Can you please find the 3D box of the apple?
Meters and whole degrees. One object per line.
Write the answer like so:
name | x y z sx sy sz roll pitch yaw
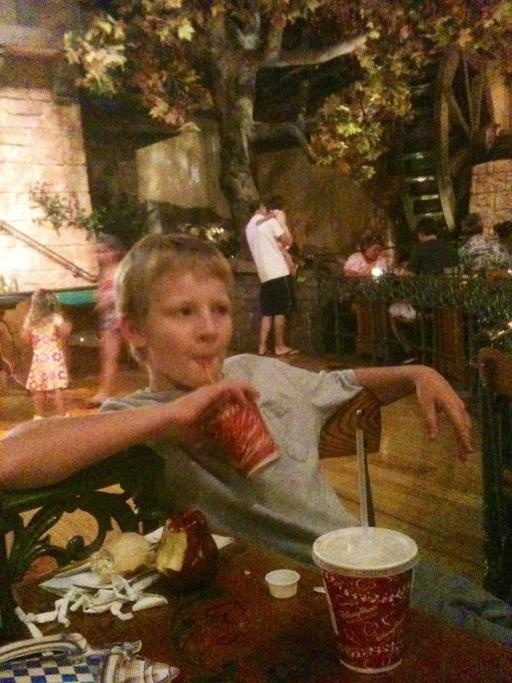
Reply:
apple | -0.113 0.360 0.989 0.117 0.120 0.104 -4 3 -27

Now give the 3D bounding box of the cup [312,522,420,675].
cup | 0.165 0.394 0.861 0.144 0.207 0.160 -3 5 5
